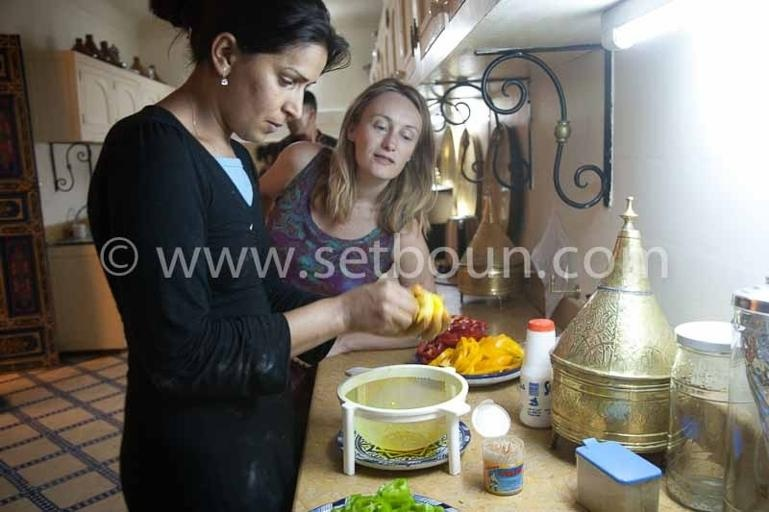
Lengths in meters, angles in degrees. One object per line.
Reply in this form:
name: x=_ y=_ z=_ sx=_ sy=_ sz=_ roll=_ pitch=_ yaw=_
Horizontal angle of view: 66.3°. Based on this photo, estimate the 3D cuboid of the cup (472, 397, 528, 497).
cup: x=0.256 y=0.418 z=1.292 sx=0.070 sy=0.084 sz=0.172 roll=-3 pitch=10 yaw=1

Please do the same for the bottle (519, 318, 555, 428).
bottle: x=0.361 y=0.287 z=1.387 sx=0.079 sy=0.253 sz=0.141 roll=2 pitch=12 yaw=14
